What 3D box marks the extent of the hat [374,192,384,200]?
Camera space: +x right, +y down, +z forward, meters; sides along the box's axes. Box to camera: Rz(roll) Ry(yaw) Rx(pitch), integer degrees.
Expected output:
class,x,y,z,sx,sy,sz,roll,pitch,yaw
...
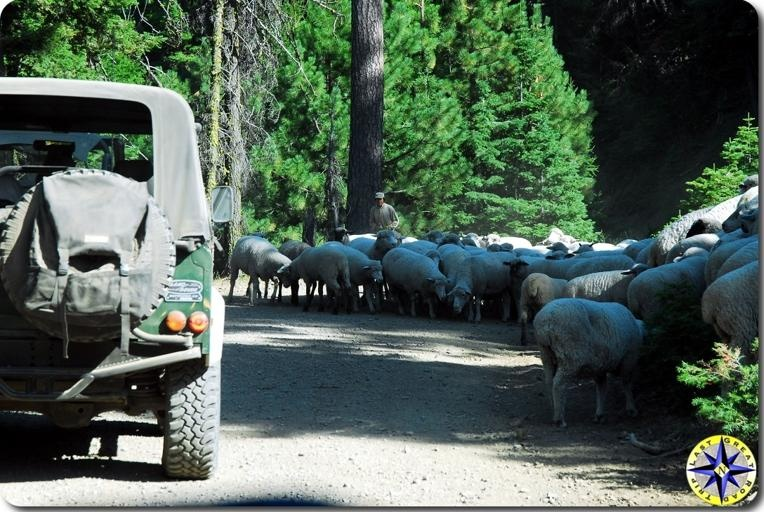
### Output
class,x,y,z,sx,sy,sz,roll,pitch,yaw
hat,-0.072,-1.706,25.384,0.312,0.132,0.447,0,0,-2
